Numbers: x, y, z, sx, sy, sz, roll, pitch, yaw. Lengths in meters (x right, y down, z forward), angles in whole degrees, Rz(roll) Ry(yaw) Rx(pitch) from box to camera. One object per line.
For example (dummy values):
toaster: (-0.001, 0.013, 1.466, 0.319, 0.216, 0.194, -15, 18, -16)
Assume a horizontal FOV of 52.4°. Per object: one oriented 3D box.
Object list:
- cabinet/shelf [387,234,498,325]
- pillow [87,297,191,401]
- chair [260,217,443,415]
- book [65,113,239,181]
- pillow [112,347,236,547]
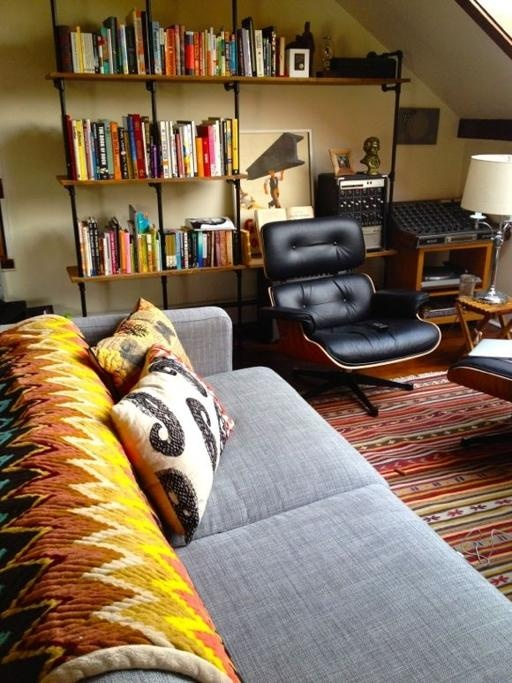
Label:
cabinet/shelf: (1.305, -0.434, 3.746, 0.660, 0.680, 0.408, -7, 19, -16)
pillow: (-0.333, 0.010, 1.517, 0.083, 0.275, 0.269, -39, -10, 26)
chair: (0.482, -0.166, 2.837, 0.867, 0.927, 0.849, -16, 26, -33)
book: (-0.530, -1.064, 2.843, 0.946, 0.322, 0.138, -14, 22, -30)
pillow: (-0.228, 0.221, 1.376, 0.288, 0.253, 0.654, 23, 14, -5)
